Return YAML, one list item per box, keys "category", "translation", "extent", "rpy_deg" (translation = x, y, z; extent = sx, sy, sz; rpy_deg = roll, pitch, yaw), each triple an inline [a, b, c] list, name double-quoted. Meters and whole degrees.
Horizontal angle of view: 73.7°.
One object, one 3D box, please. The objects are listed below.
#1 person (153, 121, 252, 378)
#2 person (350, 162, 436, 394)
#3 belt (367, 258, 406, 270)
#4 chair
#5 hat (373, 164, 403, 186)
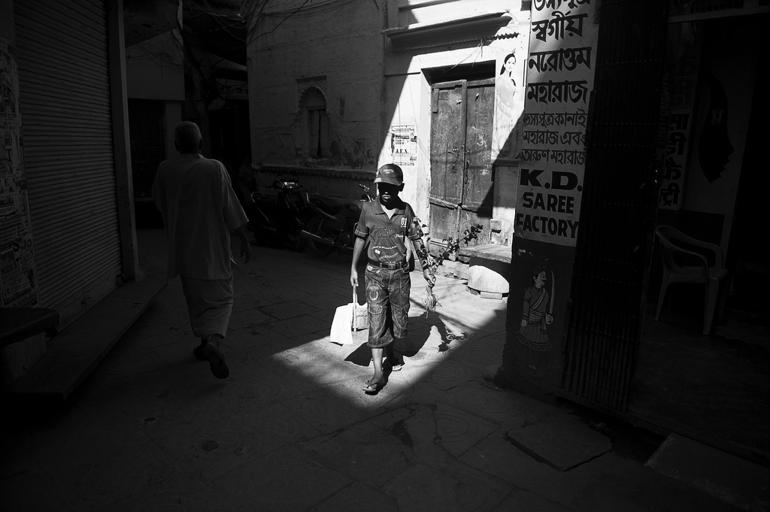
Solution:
- category: "person"
  translation: [-1.930, -0.081, 5.730]
  extent: [0.898, 2.678, 1.210]
  rpy_deg: [-10, 20, -42]
- category: "person"
  translation: [0.014, 0.186, 5.639]
  extent: [0.922, 2.346, 0.740]
  rpy_deg: [-9, 20, -40]
- category: "belt"
  translation: [0.037, 0.084, 5.536]
  extent: [0.425, 0.093, 0.123]
  rpy_deg: [2, 16, -8]
- category: "chair"
  translation: [4.276, 0.347, 7.110]
  extent: [0.876, 1.344, 0.920]
  rpy_deg: [5, 29, 32]
- category: "hat"
  translation: [0.067, -0.862, 5.508]
  extent: [0.205, 0.169, 0.281]
  rpy_deg: [6, 7, 8]
